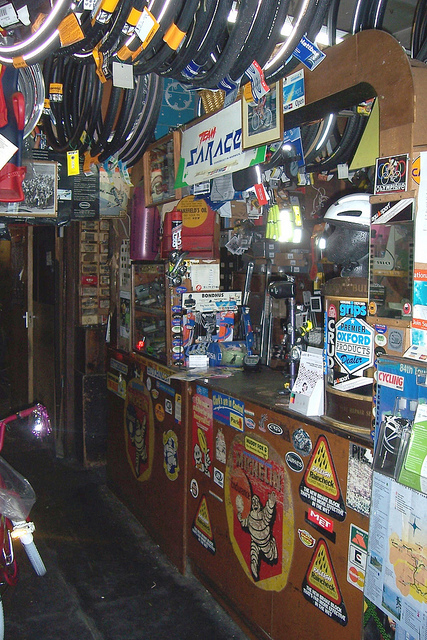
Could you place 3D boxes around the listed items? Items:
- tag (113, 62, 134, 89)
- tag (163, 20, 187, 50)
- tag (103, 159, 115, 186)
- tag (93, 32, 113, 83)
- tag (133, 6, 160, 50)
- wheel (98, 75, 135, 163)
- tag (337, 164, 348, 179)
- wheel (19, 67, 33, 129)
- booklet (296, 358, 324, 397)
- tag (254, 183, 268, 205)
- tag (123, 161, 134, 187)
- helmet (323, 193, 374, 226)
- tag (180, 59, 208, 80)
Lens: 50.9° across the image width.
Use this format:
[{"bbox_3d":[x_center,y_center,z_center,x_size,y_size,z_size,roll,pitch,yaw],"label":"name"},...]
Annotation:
[{"bbox_3d":[-0.405,-1.119,2.028,0.009,0.112,0.098,23,27,38],"label":"tag"},{"bbox_3d":[-0.147,-1.105,1.729,0.095,0.070,0.035,-45,7,48],"label":"tag"},{"bbox_3d":[-1.000,-1.424,4.293,0.066,0.206,0.147,-7,18,-19],"label":"tag"},{"bbox_3d":[-0.500,-1.162,2.017,0.091,0.141,0.037,24,38,25],"label":"tag"},{"bbox_3d":[-0.247,-1.085,1.654,0.022,0.101,0.092,-4,-32,-47],"label":"tag"},{"bbox_3d":[-0.670,-1.385,3.228,0.072,0.367,0.361,4,22,-27],"label":"wheel"},{"bbox_3d":[0.915,-1.073,3.174,0.065,0.108,0.143,0,2,16],"label":"tag"},{"bbox_3d":[-0.935,-1.129,2.261,0.052,0.234,0.127,-1,1,-20],"label":"wheel"},{"bbox_3d":[0.412,0.245,1.901,0.022,0.153,0.165,20,-1,-14],"label":"booklet"},{"bbox_3d":[0.253,-0.674,2.381,0.054,0.101,0.097,0,2,16],"label":"tag"},{"bbox_3d":[-0.742,-1.284,3.939,0.089,0.210,0.372,0,2,-10],"label":"tag"},{"bbox_3d":[0.508,-0.430,1.724,0.160,0.155,0.181,0,2,15],"label":"helmet"},{"bbox_3d":[-0.099,-1.145,2.045,0.030,0.084,0.076,-3,53,-44],"label":"tag"}]
